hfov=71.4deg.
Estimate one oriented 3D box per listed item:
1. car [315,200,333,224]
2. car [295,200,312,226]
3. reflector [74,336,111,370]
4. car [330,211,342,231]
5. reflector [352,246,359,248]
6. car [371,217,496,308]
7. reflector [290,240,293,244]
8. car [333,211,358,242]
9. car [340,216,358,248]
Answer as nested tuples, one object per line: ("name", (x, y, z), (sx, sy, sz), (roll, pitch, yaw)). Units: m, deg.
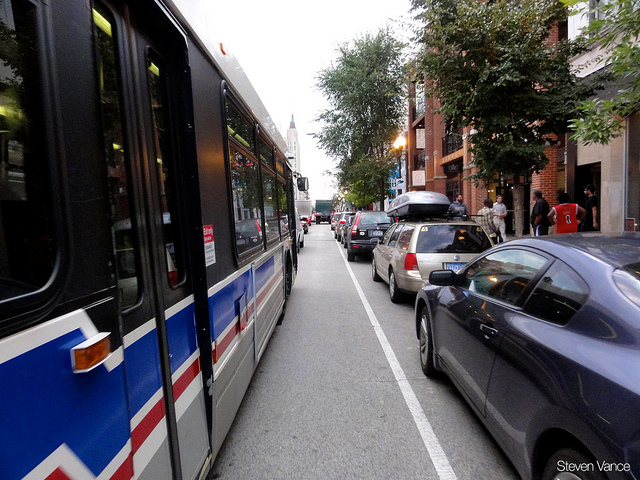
("car", (0.532, -4.077, 63.553), (2.227, 3.333, 4.037), (-1, 6, -5))
("car", (-1.449, -2.894, 41.469), (1.115, 1.715, 3.177), (-1, 2, 4))
("reflector", (-1.045, 0.516, 2.074), (0.047, 0.117, 0.258), (-4, 7, 12))
("car", (1.374, -2.033, 44.480), (1.061, 1.170, 2.540), (1, 9, 7))
("reflector", (1.236, 0.230, 15.274), (0.184, 0.049, 0.026), (2, 7, 30))
("car", (1.928, 0.328, 8.946), (1.234, 1.175, 2.909), (-2, 6, -5))
("reflector", (-0.612, 0.025, 9.288), (0.046, 0.074, 0.071), (-2, 2, 6))
("car", (1.320, -0.959, 26.497), (1.060, 1.244, 2.257), (-1, 13, 2))
("car", (1.183, -0.342, 18.711), (1.098, 1.152, 2.205), (0, 10, 5))
